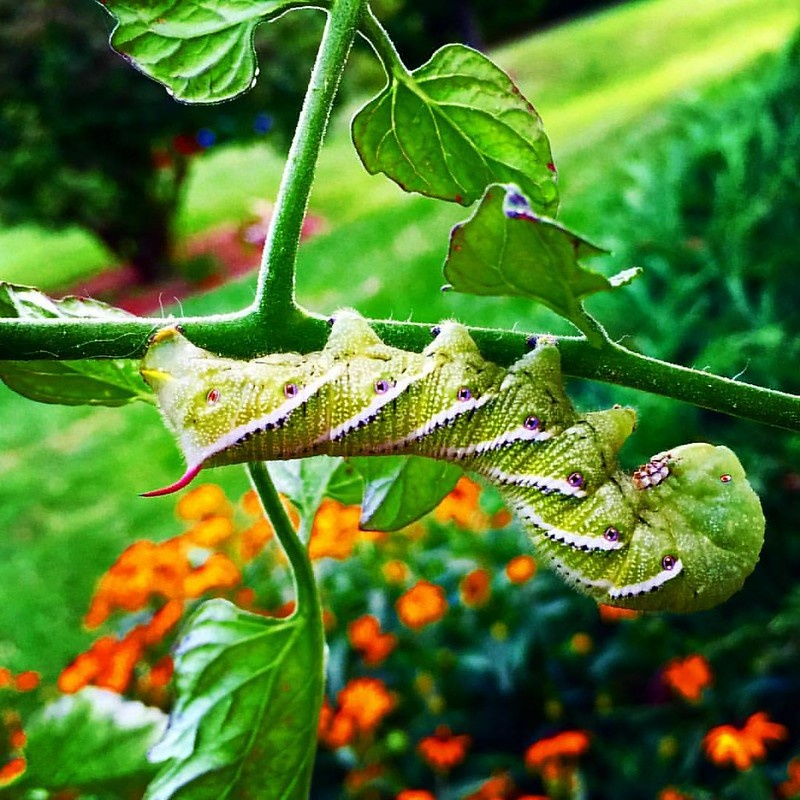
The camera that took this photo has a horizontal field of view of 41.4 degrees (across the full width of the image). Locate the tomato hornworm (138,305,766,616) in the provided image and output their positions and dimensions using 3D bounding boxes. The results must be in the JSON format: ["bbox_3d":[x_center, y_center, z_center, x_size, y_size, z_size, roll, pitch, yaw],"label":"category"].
[{"bbox_3d":[0.116,0.091,1.391,0.779,0.211,0.328,8,77,4],"label":"tomato hornworm"}]
